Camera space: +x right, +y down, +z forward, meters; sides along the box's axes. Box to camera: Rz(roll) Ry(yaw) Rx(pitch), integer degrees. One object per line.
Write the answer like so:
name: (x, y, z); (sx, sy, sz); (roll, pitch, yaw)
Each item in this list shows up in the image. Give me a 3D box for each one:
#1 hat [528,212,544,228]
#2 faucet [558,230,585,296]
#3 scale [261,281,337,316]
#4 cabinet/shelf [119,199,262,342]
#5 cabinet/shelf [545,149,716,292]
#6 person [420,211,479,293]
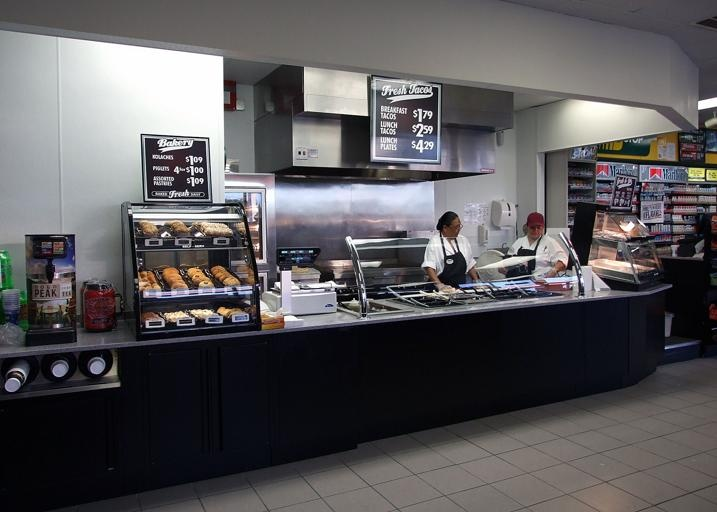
hat: (1.913, -0.394, 5.475); (0.141, 0.106, 0.192); (2, -2, 8)
faucet: (2.116, 0.071, 5.028); (0.282, 0.596, 0.390); (4, 11, 21)
scale: (-0.444, 0.308, 4.251); (0.363, 0.165, 0.346); (-1, 2, -27)
cabinet/shelf: (-1.298, 0.070, 3.900); (0.967, 0.910, 0.760); (-2, 8, -15)
cabinet/shelf: (3.904, -0.610, 7.379); (2.786, 2.439, 1.378); (-1, -1, -34)
person: (0.901, -0.049, 4.850); (0.482, 0.705, 0.466); (3, 11, 20)
